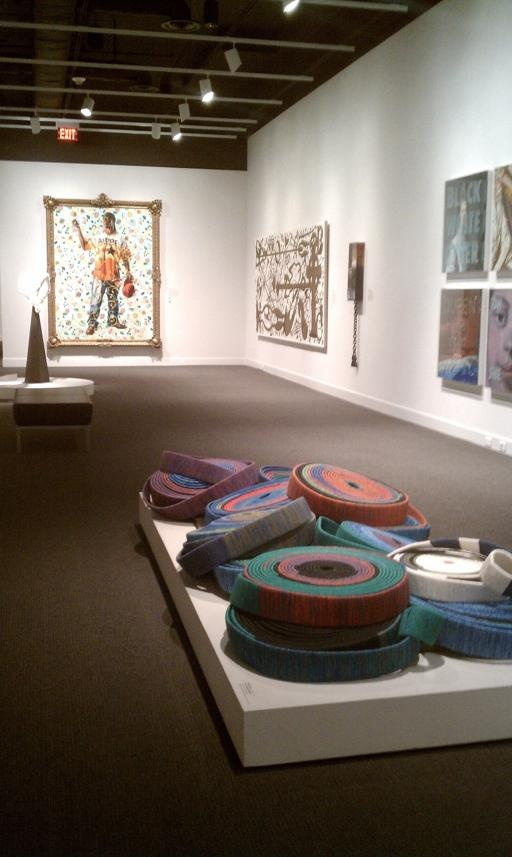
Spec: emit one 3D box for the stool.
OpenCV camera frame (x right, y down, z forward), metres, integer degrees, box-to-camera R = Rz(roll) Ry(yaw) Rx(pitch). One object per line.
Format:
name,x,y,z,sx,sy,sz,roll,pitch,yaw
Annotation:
stool,-1.976,-0.383,5.545,0.694,0.520,1.171,-1,38,-23

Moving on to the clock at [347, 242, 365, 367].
clock,1.330,-1.646,7.588,0.180,1.647,0.421,0,1,2

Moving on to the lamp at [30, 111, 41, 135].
lamp,-3.849,-5.393,9.932,0.126,0.399,0.482,0,1,-15
